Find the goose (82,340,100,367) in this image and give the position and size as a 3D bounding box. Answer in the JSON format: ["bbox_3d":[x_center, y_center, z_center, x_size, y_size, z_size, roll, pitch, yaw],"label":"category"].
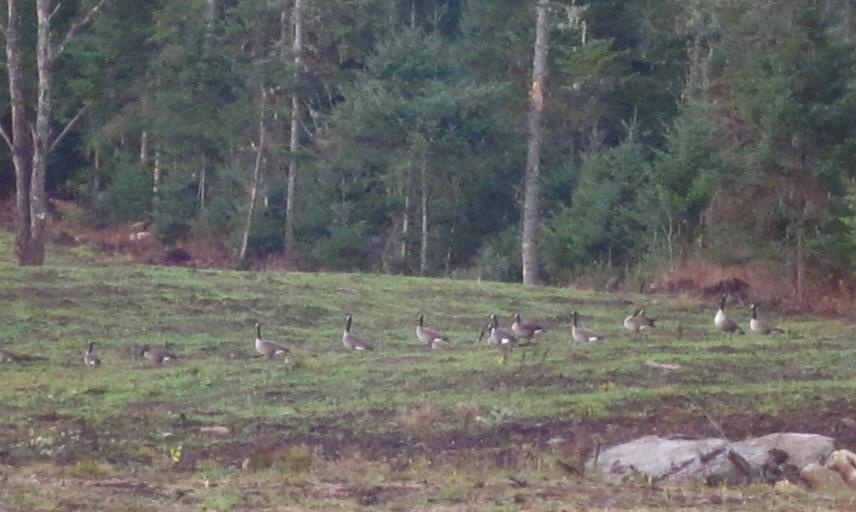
[{"bbox_3d":[-18.600,5.411,112.545,0.912,1.390,1.407,-1,0,-10],"label":"goose"}]
